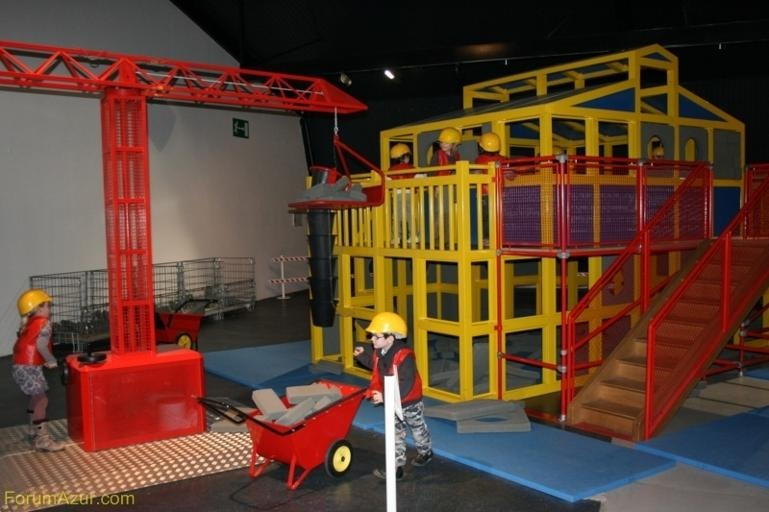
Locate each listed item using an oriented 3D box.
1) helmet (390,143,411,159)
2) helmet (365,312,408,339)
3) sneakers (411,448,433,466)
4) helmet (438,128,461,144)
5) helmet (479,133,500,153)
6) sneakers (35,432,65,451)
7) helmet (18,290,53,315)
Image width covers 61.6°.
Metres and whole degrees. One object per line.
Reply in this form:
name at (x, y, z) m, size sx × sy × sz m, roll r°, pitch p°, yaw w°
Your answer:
helmet at (0.379, -2.139, 13.007) m, size 0.410 × 0.252 × 0.354 m, roll -14°, pitch 7°, yaw -40°
helmet at (0.025, 0.949, 8.862) m, size 0.513 × 0.238 × 0.342 m, roll 10°, pitch 0°, yaw 1°
sneakers at (0.547, 2.846, 9.151) m, size 0.333 × 0.249 × 0.214 m, roll -5°, pitch 6°, yaw -14°
helmet at (1.284, -2.350, 12.584) m, size 0.415 × 0.320 × 0.304 m, roll -4°, pitch 5°, yaw -3°
helmet at (1.857, -2.078, 11.747) m, size 0.354 × 0.292 × 0.365 m, roll 4°, pitch 26°, yaw -15°
sneakers at (-5.015, 2.816, 9.657) m, size 0.582 × 0.221 × 0.196 m, roll 6°, pitch 7°, yaw 12°
helmet at (-5.300, 0.716, 9.981) m, size 0.548 × 0.310 × 0.398 m, roll -3°, pitch 1°, yaw -44°
